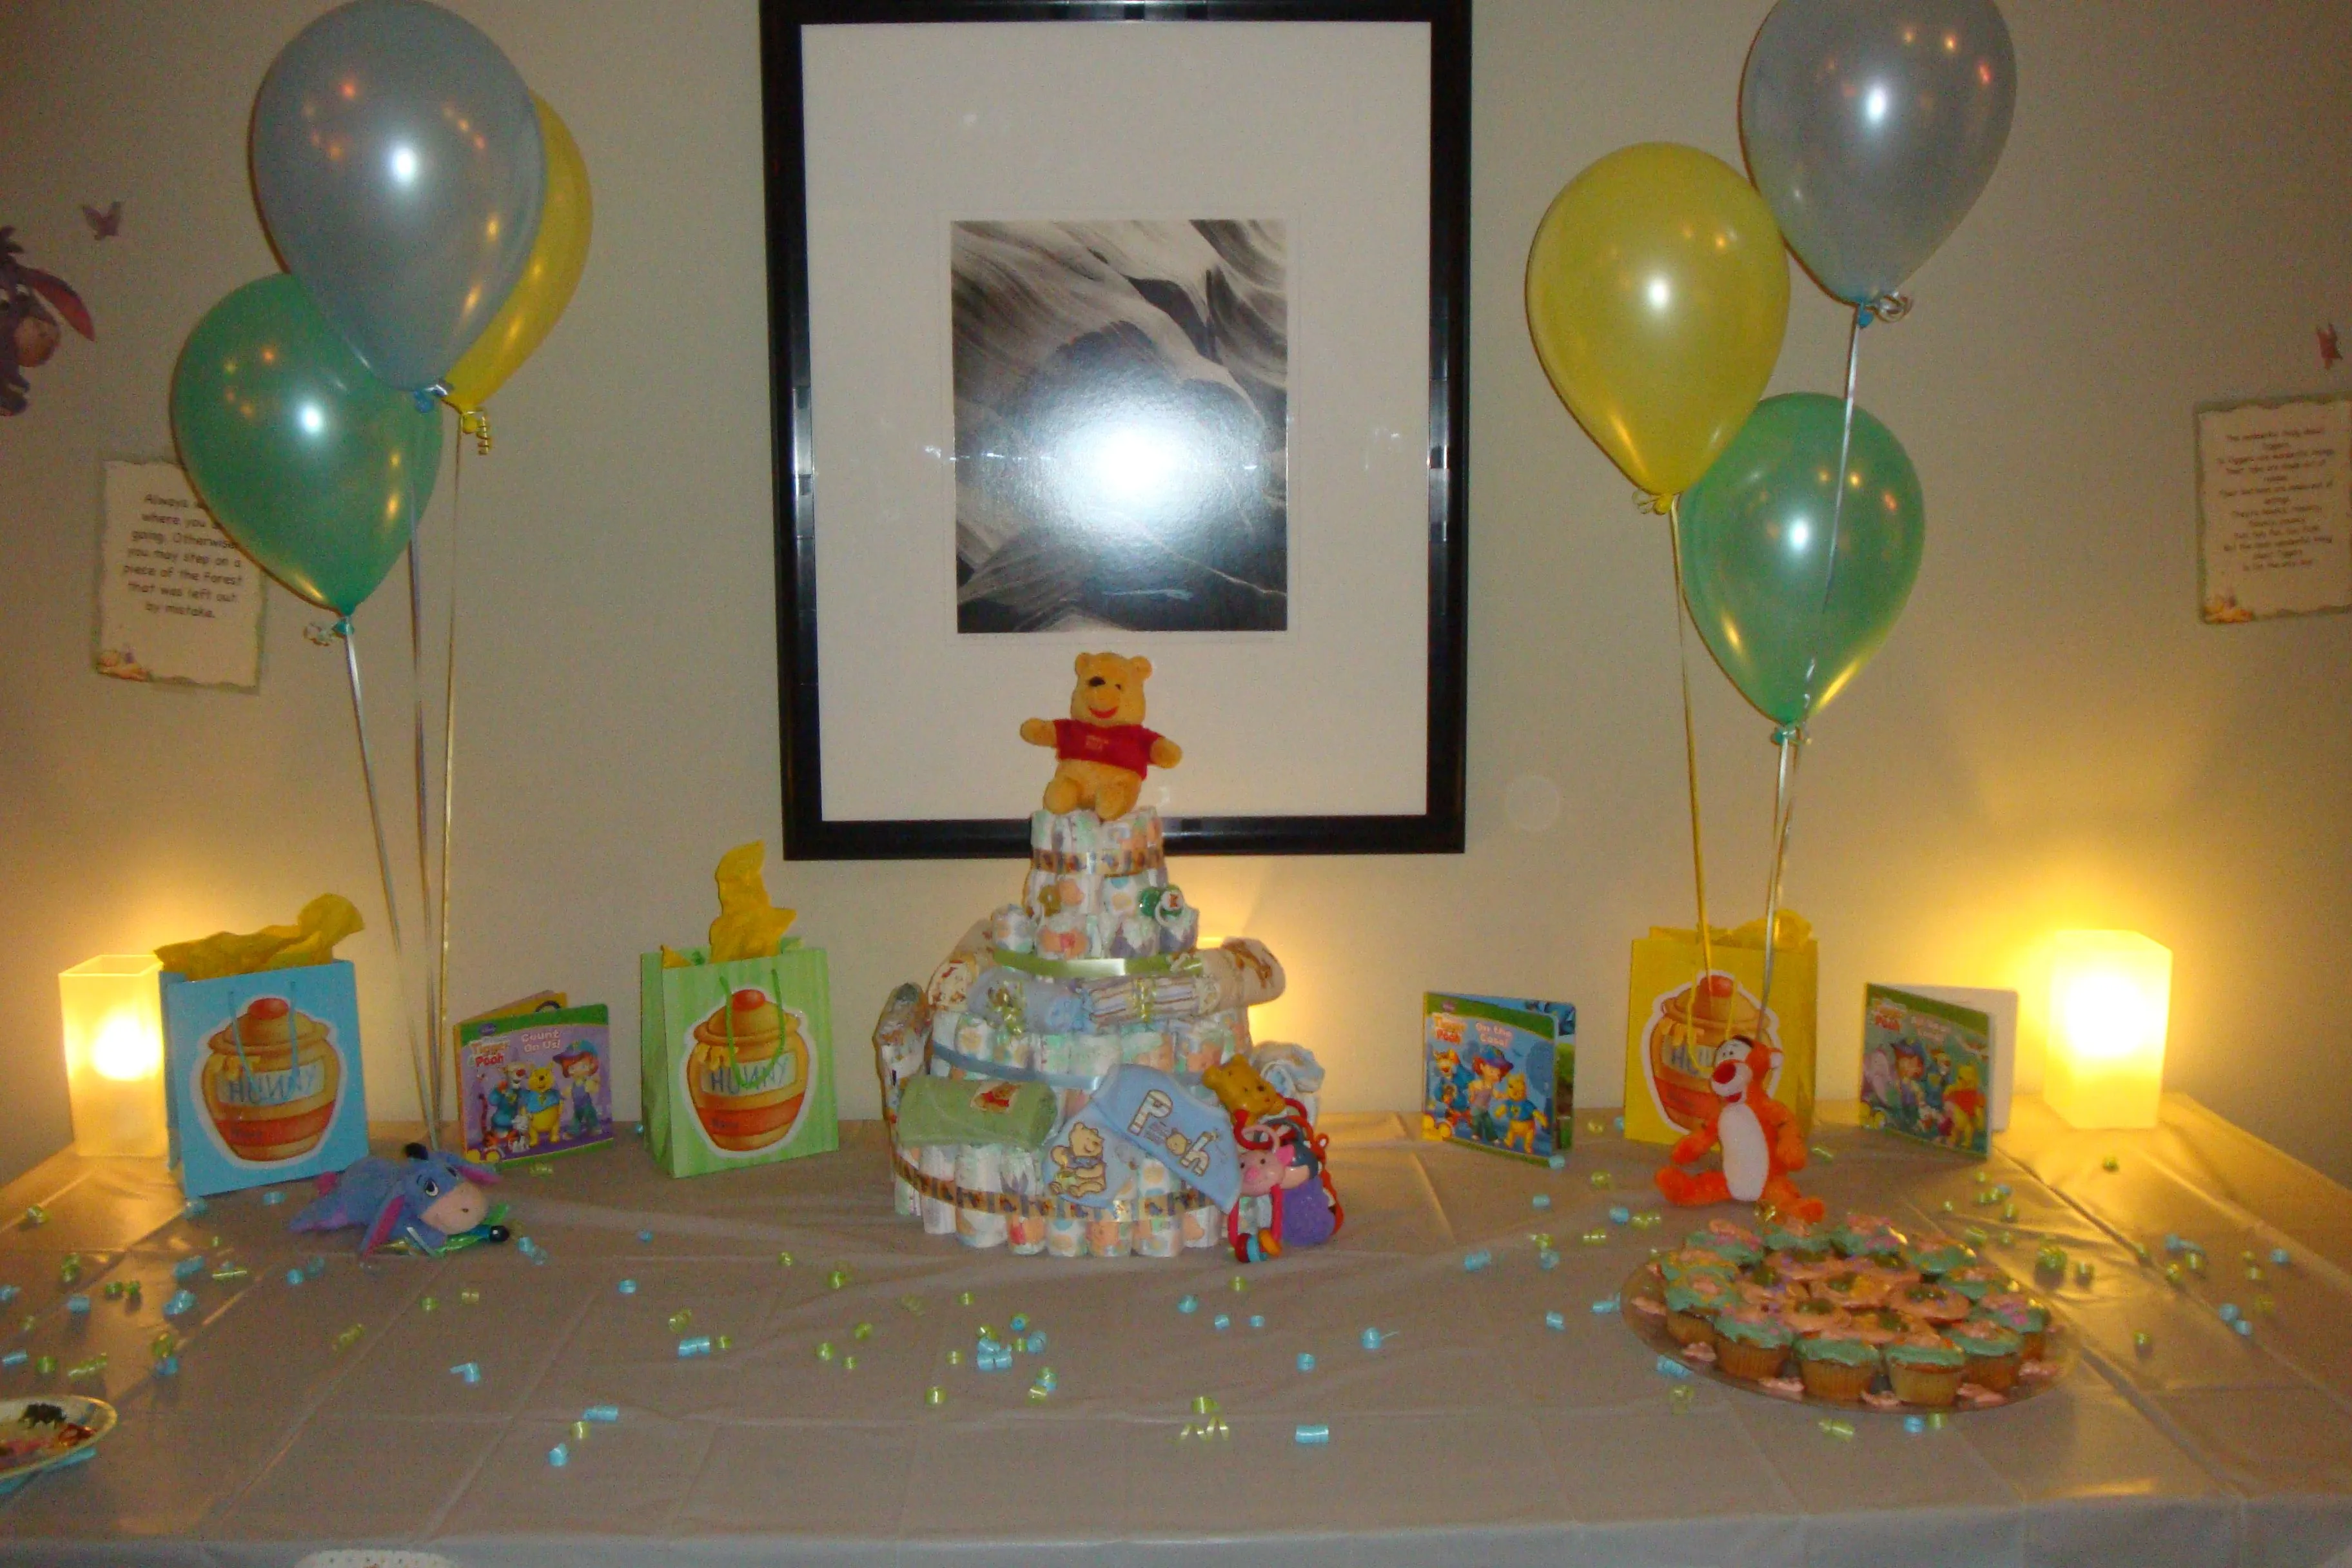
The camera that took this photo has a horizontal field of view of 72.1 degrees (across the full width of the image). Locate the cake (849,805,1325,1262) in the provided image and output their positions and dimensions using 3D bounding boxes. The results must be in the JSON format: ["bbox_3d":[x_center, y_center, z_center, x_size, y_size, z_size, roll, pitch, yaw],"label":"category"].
[{"bbox_3d":[-0.129,0.431,3.341,0.808,0.793,0.804,2,2,20],"label":"cake"}]

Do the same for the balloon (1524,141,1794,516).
[{"bbox_3d":[0.976,-0.922,3.269,0.540,0.757,0.560,1,-4,-27],"label":"balloon"}]

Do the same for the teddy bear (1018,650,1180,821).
[{"bbox_3d":[-0.159,-0.115,3.325,0.280,0.317,0.170,9,0,9],"label":"teddy bear"}]

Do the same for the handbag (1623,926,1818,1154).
[{"bbox_3d":[1.162,0.517,3.516,0.375,0.511,0.191,1,20,12],"label":"handbag"}]

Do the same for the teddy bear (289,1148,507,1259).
[{"bbox_3d":[-1.510,0.802,3.166,0.294,0.132,0.229,3,8,15],"label":"teddy bear"}]

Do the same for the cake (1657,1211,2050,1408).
[{"bbox_3d":[1.175,0.915,2.803,0.342,0.082,0.342,-3,7,-18],"label":"cake"}]

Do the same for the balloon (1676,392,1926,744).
[{"bbox_3d":[1.276,-0.437,3.276,0.458,0.725,0.437,6,10,-4],"label":"balloon"}]

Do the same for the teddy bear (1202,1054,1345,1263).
[{"bbox_3d":[0.179,0.733,3.130,0.298,0.523,0.140,-5,4,-14],"label":"teddy bear"}]

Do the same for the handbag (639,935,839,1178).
[{"bbox_3d":[-0.942,0.577,3.482,0.382,0.464,0.244,-2,5,-27],"label":"handbag"}]
